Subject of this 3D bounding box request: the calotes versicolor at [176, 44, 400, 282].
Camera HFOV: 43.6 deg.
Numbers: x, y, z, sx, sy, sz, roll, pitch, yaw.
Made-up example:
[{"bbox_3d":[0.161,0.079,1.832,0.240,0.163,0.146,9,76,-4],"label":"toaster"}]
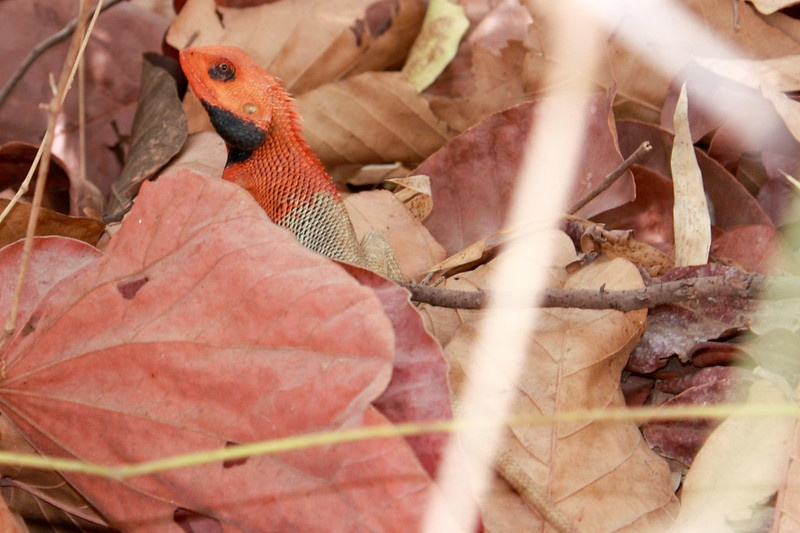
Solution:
[{"bbox_3d":[-0.228,-0.213,2.110,0.520,0.198,0.181,47,37,8],"label":"calotes versicolor"}]
